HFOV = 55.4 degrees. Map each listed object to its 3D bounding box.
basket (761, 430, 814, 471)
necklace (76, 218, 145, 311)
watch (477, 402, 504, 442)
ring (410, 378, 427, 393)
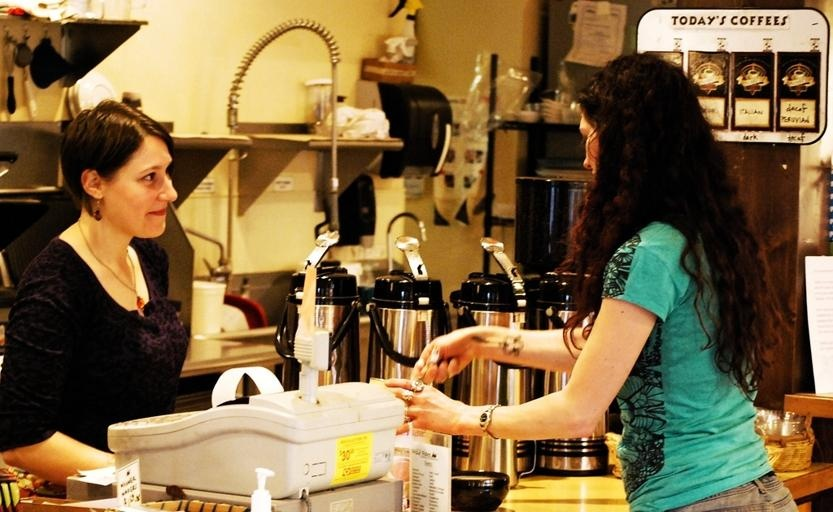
[{"bbox_3d":[1.460,0.769,3.099,0.151,0.104,0.191,-1,-1,13],"label":"basket"},{"bbox_3d":[-1.078,0.042,2.787,0.049,0.319,0.196,-23,0,35],"label":"necklace"},{"bbox_3d":[0.212,0.492,2.390,0.099,0.099,0.064,27,-22,-39],"label":"watch"},{"bbox_3d":[0.009,0.401,2.486,0.032,0.018,0.040,-1,7,-21],"label":"ring"}]
